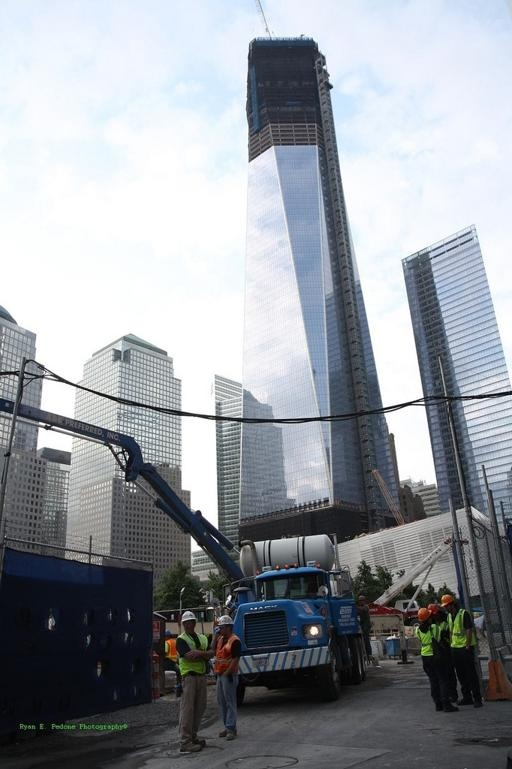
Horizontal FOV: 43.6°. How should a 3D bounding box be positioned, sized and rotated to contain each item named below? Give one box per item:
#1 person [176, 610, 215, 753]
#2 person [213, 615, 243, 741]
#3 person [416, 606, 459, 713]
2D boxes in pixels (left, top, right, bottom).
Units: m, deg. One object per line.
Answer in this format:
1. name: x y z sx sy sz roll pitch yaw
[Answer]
1. person: -0.823 3.837 8.408 0.486 1.635 1.023 -5 -18 -7
2. person: -0.412 4.168 9.219 0.388 1.572 1.198 -5 -17 -5
3. person: 2.860 4.416 10.278 0.383 1.515 1.121 -10 -18 10
